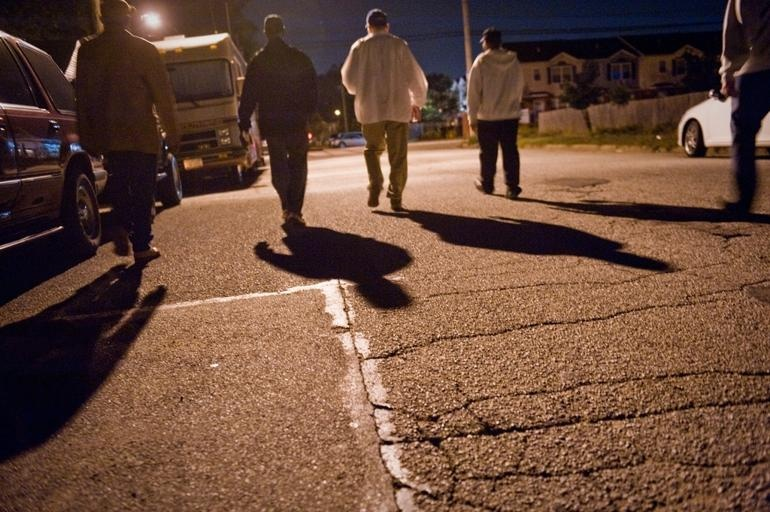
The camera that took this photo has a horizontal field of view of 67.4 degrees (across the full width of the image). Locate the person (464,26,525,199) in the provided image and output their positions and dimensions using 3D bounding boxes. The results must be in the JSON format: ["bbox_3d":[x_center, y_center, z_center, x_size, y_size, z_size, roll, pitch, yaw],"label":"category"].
[{"bbox_3d":[1.494,-1.901,7.846,0.731,2.217,0.711,0,11,14],"label":"person"}]

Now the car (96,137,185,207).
[{"bbox_3d":[-3.696,-1.300,9.424,0.799,0.853,1.604,-1,3,0],"label":"car"}]

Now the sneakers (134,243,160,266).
[{"bbox_3d":[-2.387,0.001,5.835,0.109,0.124,0.283,-9,17,23],"label":"sneakers"}]

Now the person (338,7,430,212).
[{"bbox_3d":[0.006,-1.782,7.267,1.019,2.452,0.551,-4,11,-2],"label":"person"}]

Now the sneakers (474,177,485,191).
[{"bbox_3d":[1.373,-1.009,8.358,0.095,0.077,0.166,-39,49,7],"label":"sneakers"}]

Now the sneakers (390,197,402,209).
[{"bbox_3d":[0.146,-0.634,7.278,0.144,0.168,0.093,5,8,19],"label":"sneakers"}]

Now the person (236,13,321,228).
[{"bbox_3d":[-1.257,-1.595,6.947,0.933,2.435,0.587,-5,11,-8],"label":"person"}]

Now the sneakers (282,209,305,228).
[{"bbox_3d":[-1.112,-0.429,6.956,0.289,0.141,0.147,-1,6,-35],"label":"sneakers"}]
